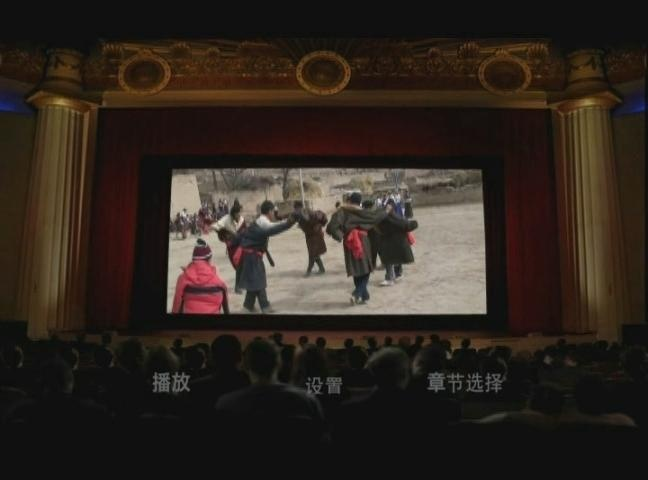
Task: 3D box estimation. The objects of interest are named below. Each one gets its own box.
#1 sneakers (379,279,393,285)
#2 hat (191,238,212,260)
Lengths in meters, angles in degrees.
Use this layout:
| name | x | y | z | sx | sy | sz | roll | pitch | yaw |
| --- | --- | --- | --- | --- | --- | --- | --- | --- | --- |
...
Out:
| name | x | y | z | sx | sy | sz | roll | pitch | yaw |
| --- | --- | --- | --- | --- | --- | --- | --- | --- | --- |
| sneakers | 0.632 | 0.423 | 6.271 | 0.146 | 0.067 | 0.051 | 3 | -11 | -3 |
| hat | -1.224 | 0.114 | 6.218 | 0.133 | 0.163 | 0.199 | -1 | 8 | -5 |
